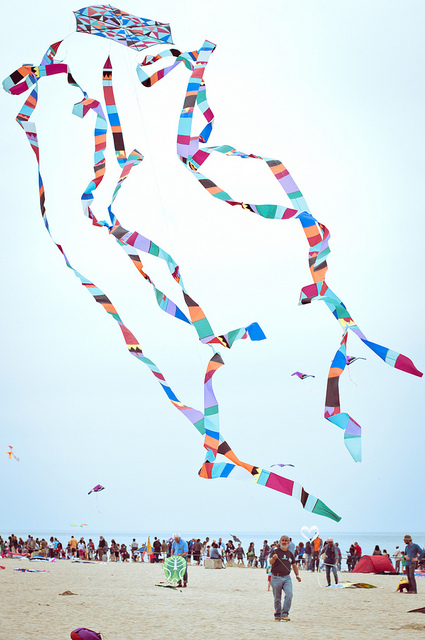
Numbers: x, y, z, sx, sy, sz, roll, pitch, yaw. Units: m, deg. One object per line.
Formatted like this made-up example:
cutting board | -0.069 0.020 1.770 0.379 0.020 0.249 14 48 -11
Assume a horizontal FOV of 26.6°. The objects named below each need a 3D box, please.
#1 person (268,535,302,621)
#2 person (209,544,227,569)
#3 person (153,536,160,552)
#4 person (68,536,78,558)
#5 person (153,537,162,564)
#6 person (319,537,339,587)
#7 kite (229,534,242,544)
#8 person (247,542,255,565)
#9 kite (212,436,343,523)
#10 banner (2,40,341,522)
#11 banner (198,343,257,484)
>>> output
person | 1.050 3.760 13.143 0.495 1.219 0.397 7 -19 -9
person | 0.172 7.136 27.292 0.546 0.874 1.448 4 -24 0
person | -1.923 7.645 30.779 0.223 0.582 0.869 5 -24 -3
person | -4.884 7.908 31.424 0.350 0.775 0.889 7 -25 -7
person | -1.883 7.808 30.593 0.277 0.830 0.650 6 -24 -4
person | 2.464 5.147 19.220 0.458 1.022 0.392 -2 0 16
kite | 0.849 7.604 31.114 0.188 0.123 0.505 -22 -72 50
person | 1.257 7.764 29.881 0.272 0.863 0.299 -12 -34 14
kite | 0.638 1.652 9.577 1.574 0.035 0.529 27 -51 15
banner | -0.947 -0.901 11.229 4.545 6.631 1.575 -10 -28 28
banner | 0.086 1.036 10.302 0.531 1.807 1.001 10 -25 -14
